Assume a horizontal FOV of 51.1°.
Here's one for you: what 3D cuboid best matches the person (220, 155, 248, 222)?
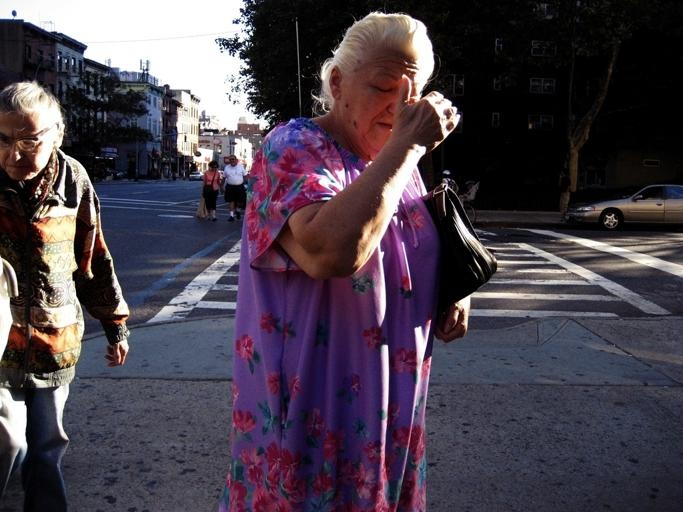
[{"bbox_3d":[-2.997,-1.900,20.020,0.794,1.838,0.626,-1,5,-2],"label":"person"}]
